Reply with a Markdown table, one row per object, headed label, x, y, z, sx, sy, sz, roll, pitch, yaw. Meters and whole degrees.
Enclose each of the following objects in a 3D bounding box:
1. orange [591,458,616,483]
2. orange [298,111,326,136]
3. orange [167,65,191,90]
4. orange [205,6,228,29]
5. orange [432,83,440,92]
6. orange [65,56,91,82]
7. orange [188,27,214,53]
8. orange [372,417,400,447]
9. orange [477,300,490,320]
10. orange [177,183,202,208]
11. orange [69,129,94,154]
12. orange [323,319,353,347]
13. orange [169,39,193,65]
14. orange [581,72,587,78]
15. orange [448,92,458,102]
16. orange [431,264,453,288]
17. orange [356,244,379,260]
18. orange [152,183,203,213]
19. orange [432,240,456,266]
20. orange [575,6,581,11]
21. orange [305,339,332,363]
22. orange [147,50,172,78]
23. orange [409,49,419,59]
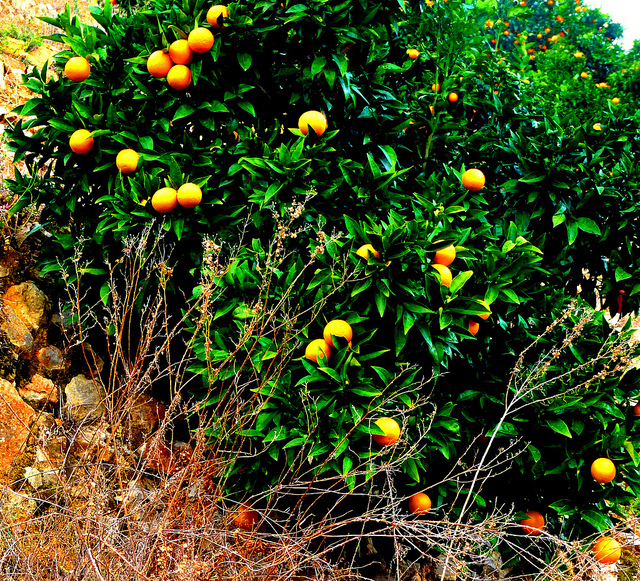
| label | x | y | z | sx | sy | sz | roll | pitch | yaw |
| --- | --- | --- | --- | --- | --- | --- | --- | --- | --- |
| orange | 1.334 | 0.837 | 3.020 | 0.071 | 0.089 | 0.074 | -12 | 39 | -23 |
| orange | -0.034 | -0.793 | 3.088 | 0.106 | 0.115 | 0.128 | 24 | -23 | 9 |
| orange | -0.670 | -1.008 | 3.029 | 0.091 | 0.119 | 0.097 | 4 | 18 | -10 |
| orange | -0.491 | -1.283 | 3.019 | 0.078 | 0.103 | 0.084 | 1 | 9 | 2 |
| orange | 0.611 | -1.075 | 3.407 | 0.033 | 0.045 | 0.036 | -1 | 20 | 11 |
| orange | -1.206 | -1.091 | 3.180 | 0.106 | 0.138 | 0.115 | 7 | 22 | 9 |
| orange | -0.562 | -1.152 | 2.982 | 0.093 | 0.107 | 0.101 | 3 | 12 | -4 |
| orange | 0.283 | 0.615 | 2.827 | 0.105 | 0.134 | 0.108 | 4 | -19 | -20 |
| orange | 0.743 | 0.083 | 2.864 | 0.064 | 0.081 | 0.063 | -6 | 6 | -42 |
| orange | -0.619 | -0.449 | 3.019 | 0.096 | 0.126 | 0.103 | 2 | 6 | 13 |
| orange | -1.189 | -0.736 | 3.181 | 0.104 | 0.113 | 0.126 | -15 | -17 | -17 |
| orange | 0.082 | 0.171 | 2.864 | 0.104 | 0.136 | 0.109 | 5 | 11 | 36 |
| orange | -0.659 | -1.116 | 3.015 | 0.095 | 0.122 | 0.104 | 7 | 41 | 15 |
| orange | 2.344 | -1.916 | 5.695 | 0.037 | 0.048 | 0.037 | 12 | -18 | -18 |
| orange | 0.715 | -1.045 | 3.474 | 0.041 | 0.052 | 0.043 | 22 | 42 | 34 |
| orange | 0.541 | -0.079 | 2.861 | 0.108 | 0.085 | 0.116 | 30 | 11 | 14 |
| orange | 0.207 | -0.180 | 2.830 | 0.081 | 0.074 | 0.070 | -20 | 33 | -15 |
| orange | -0.684 | -0.437 | 3.085 | 0.218 | 0.126 | 0.118 | -18 | 30 | -3 |
| orange | 0.557 | -0.176 | 2.901 | 0.093 | 0.122 | 0.099 | 6 | 7 | 8 |
| orange | 2.700 | -2.957 | 6.742 | 0.056 | 0.034 | 0.061 | -12 | 48 | 0 |
| orange | -0.011 | 0.261 | 2.880 | 0.088 | 0.116 | 0.094 | 4 | 8 | 17 |
| orange | -0.761 | -1.063 | 3.039 | 0.107 | 0.141 | 0.111 | 5 | 17 | 6 |
| orange | 0.490 | -1.244 | 3.386 | 0.039 | 0.051 | 0.039 | -9 | 13 | -34 |
